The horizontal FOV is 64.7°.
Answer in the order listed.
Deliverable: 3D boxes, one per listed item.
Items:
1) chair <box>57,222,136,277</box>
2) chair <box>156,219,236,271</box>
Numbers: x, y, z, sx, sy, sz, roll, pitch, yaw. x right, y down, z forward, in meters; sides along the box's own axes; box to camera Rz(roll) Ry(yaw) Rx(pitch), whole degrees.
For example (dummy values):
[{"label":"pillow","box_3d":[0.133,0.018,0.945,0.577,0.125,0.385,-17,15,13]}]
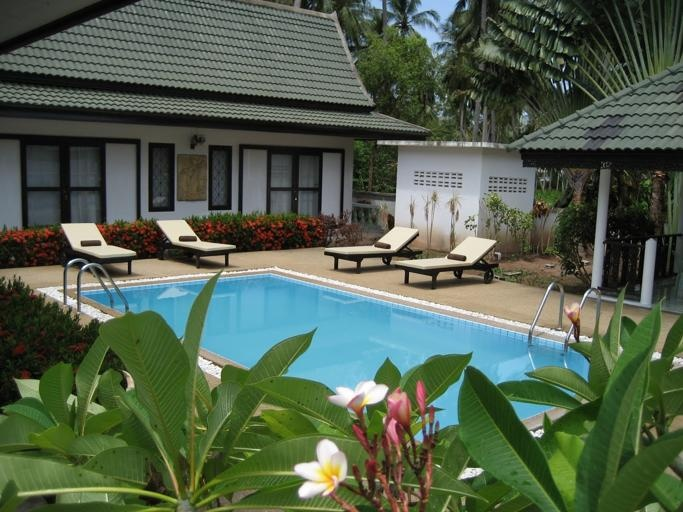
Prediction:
[{"label":"chair","box_3d":[-5.735,-0.256,12.607,0.937,1.226,2.568,-7,16,-41]},{"label":"chair","box_3d":[-3.765,-0.260,13.808,2.564,1.170,0.933,7,7,43]}]
